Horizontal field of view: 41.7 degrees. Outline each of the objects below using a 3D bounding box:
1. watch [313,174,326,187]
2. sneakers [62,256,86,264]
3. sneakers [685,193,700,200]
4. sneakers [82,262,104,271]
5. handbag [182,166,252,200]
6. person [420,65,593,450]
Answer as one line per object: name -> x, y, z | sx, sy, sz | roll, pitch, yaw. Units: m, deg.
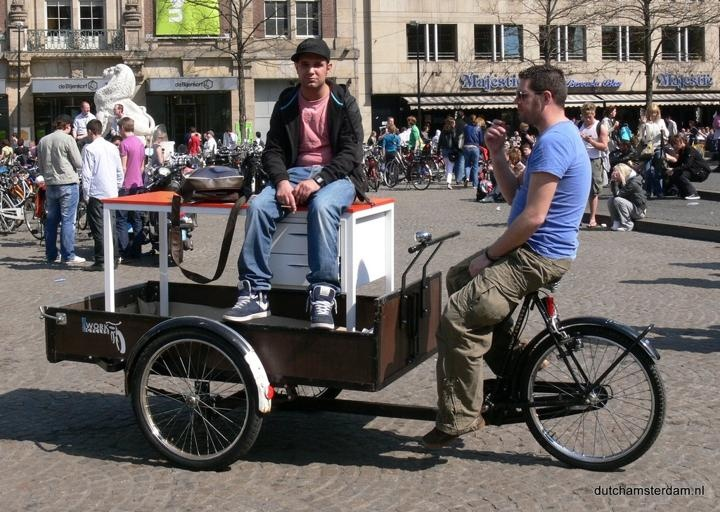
watch -> -0.308, -0.571, 7.188 | 0.051, 0.081, 0.081 | -28, 24, -18
sneakers -> -4.265, 0.072, 14.128 | 0.293, 0.126, 0.125 | -3, 3, -12
sneakers -> 6.998, -1.247, 19.944 | 0.314, 0.122, 0.114 | 2, 3, 13
sneakers -> -3.836, 0.164, 13.624 | 0.314, 0.134, 0.137 | 3, 1, 9
handbag -> -1.176, -0.624, 7.623 | 0.545, 0.260, 0.698 | -2, 16, -9
person -> 1.015, 0.074, 6.780 | 1.283, 2.792, 0.610 | -8, 14, -28
